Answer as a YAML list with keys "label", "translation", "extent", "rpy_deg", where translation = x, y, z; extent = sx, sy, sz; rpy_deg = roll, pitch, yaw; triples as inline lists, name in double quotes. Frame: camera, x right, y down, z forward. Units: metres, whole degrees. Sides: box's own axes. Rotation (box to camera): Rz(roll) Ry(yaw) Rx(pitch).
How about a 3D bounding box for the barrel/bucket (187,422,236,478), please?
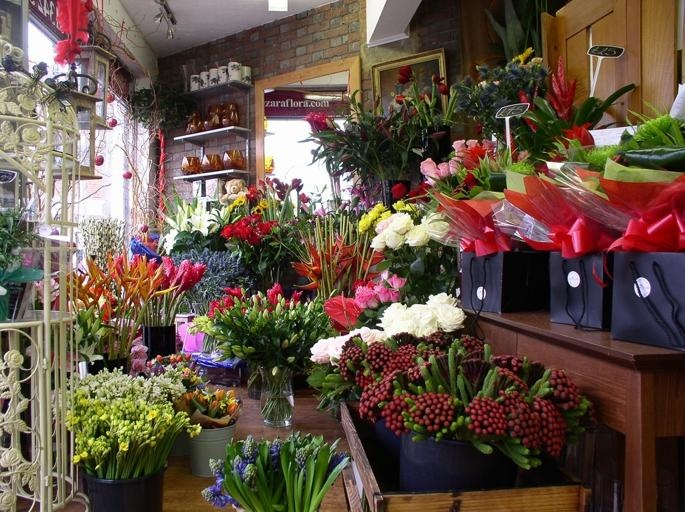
- label: "barrel/bucket"
  translation: [-0.316, 0.471, 1.206]
  extent: [0.105, 0.118, 0.076]
  rpy_deg: [-1, -4, -19]
